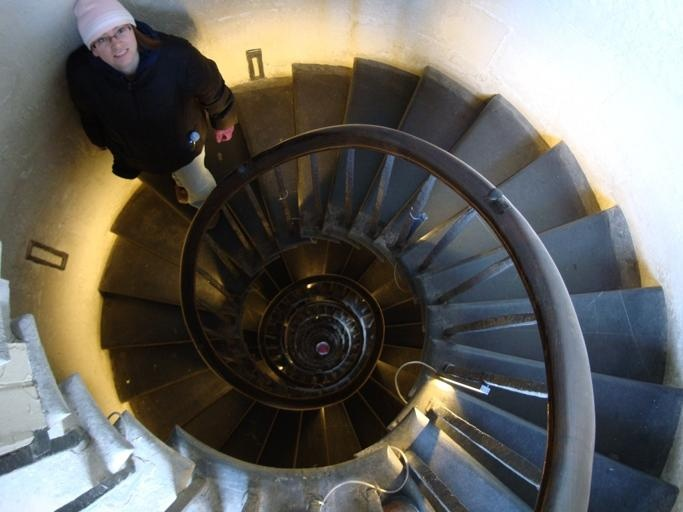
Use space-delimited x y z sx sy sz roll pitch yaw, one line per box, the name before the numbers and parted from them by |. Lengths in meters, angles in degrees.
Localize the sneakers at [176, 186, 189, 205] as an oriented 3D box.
sneakers | -1.880 -0.715 6.105 0.066 0.187 0.190 -38 97 -31
